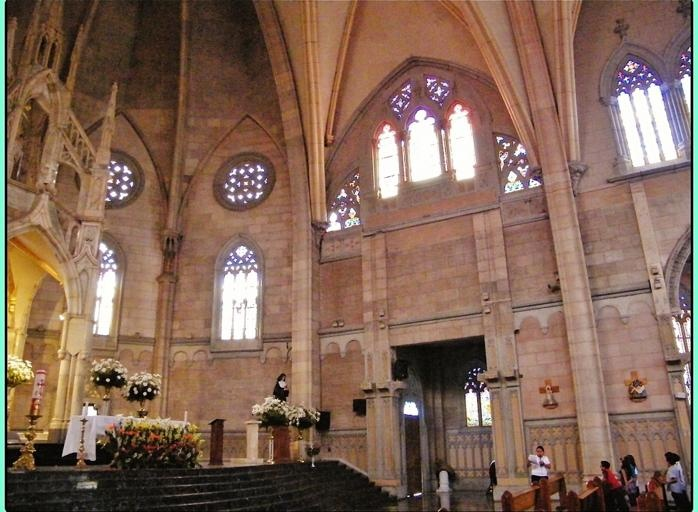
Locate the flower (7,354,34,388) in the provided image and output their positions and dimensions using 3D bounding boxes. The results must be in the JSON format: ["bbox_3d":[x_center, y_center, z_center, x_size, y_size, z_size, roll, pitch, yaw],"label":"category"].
[{"bbox_3d":[-8.913,3.047,15.067,0.604,0.788,0.902,10,-24,-29],"label":"flower"}]

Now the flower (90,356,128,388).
[{"bbox_3d":[-7.306,3.562,17.150,1.153,0.928,1.133,-2,-5,1],"label":"flower"}]

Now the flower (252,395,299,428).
[{"bbox_3d":[-2.534,5.112,18.402,1.304,0.874,1.284,1,-7,-22],"label":"flower"}]

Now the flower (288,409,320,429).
[{"bbox_3d":[-1.526,5.480,18.999,0.964,0.624,0.940,-1,-5,5],"label":"flower"}]

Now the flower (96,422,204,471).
[{"bbox_3d":[-5.040,4.837,14.462,2.252,1.271,0.775,17,-28,-40],"label":"flower"}]
